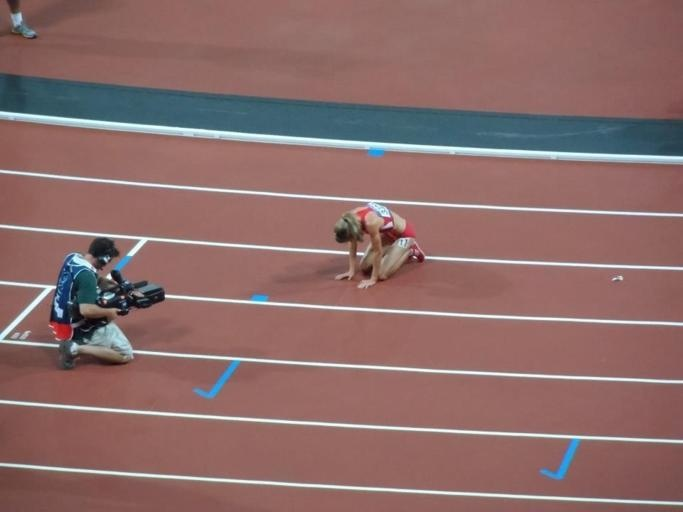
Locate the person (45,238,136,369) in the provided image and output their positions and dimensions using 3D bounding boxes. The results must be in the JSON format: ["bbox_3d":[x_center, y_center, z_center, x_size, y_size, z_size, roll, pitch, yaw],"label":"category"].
[{"bbox_3d":[-2.949,0.502,13.509,0.938,1.256,1.426,0,-70,-8],"label":"person"}]

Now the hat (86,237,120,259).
[{"bbox_3d":[-2.764,-0.092,13.203,0.287,0.280,0.231,-1,-8,-5],"label":"hat"}]

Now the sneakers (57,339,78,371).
[{"bbox_3d":[-3.179,1.160,13.311,0.219,0.154,0.314,28,-49,15],"label":"sneakers"}]

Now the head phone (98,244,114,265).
[{"bbox_3d":[-2.725,-0.034,13.204,0.130,0.163,0.163,34,-27,-13],"label":"head phone"}]

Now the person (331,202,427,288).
[{"bbox_3d":[0.461,-0.180,14.450,0.622,1.178,1.026,21,-51,50],"label":"person"}]

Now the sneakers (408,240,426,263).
[{"bbox_3d":[0.957,-0.069,14.612,0.139,0.127,0.349,-25,-43,3],"label":"sneakers"}]
